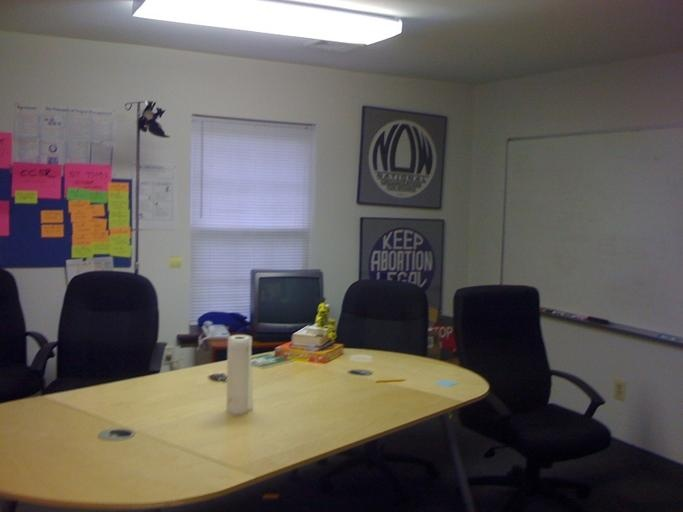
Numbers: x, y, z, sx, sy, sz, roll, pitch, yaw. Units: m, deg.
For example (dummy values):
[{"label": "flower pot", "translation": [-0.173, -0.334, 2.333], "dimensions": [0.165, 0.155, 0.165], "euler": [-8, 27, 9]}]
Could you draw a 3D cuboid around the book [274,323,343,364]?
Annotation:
[{"label": "book", "translation": [-0.200, 0.495, 3.152], "dimensions": [0.270, 0.164, 0.272], "euler": [2, 2, 32]}]

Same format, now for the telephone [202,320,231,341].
[{"label": "telephone", "translation": [-0.986, 0.581, 4.135], "dimensions": [0.226, 0.088, 0.295], "euler": [7, 7, 27]}]
